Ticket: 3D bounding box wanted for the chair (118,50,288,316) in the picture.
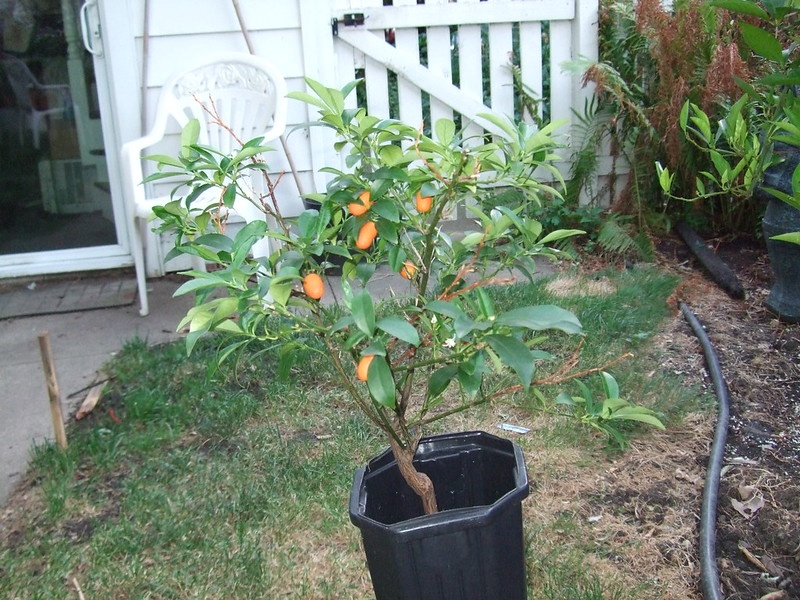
[{"bbox_3d":[-1.145,-0.731,3.601,1.049,1.375,1.166,-9,20,-12],"label":"chair"}]
